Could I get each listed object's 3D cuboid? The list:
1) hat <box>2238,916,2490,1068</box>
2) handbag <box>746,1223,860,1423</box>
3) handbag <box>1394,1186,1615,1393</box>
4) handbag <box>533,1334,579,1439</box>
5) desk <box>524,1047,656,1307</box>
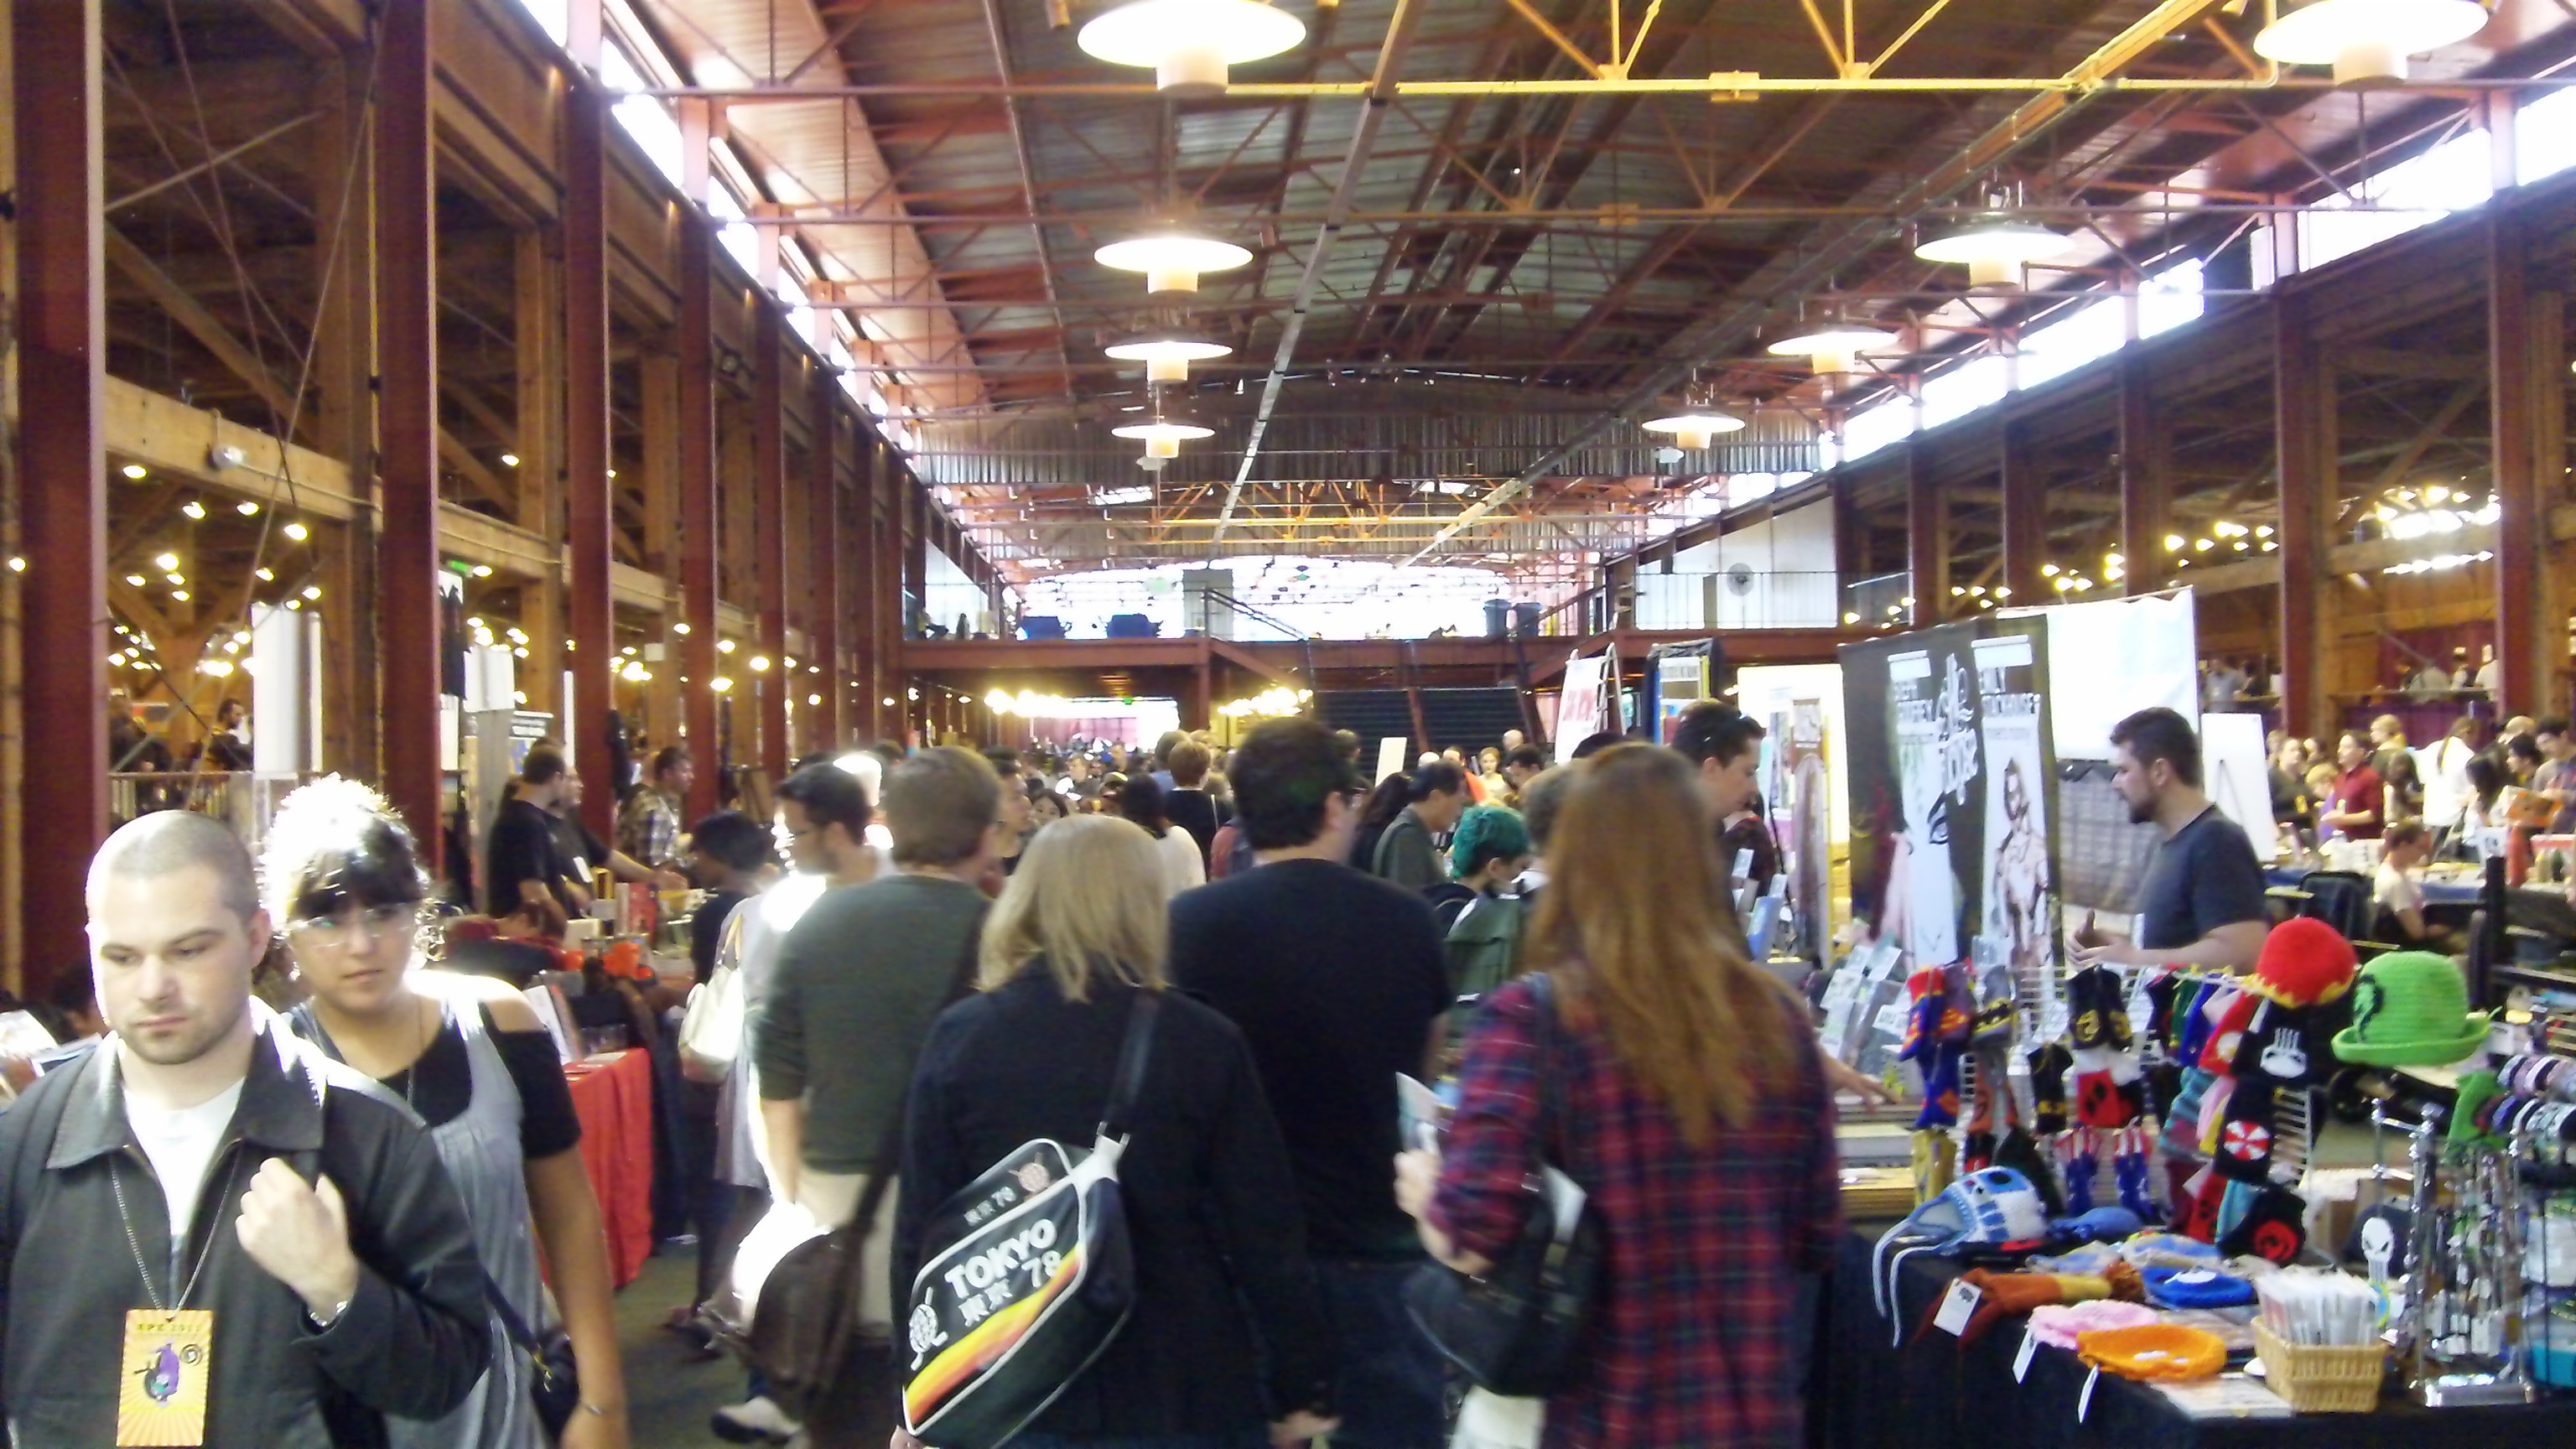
[{"bbox_3d":[3.755,0.932,7.367,0.512,0.252,0.645,-22,-24,27],"label":"hat"},{"bbox_3d":[-1.675,2.069,7.424,0.247,0.749,0.445,21,-26,-30],"label":"handbag"},{"bbox_3d":[0.694,1.734,6.761,0.607,0.573,0.457,18,4,42],"label":"handbag"},{"bbox_3d":[-2.345,2.116,6.826,0.081,0.258,0.201,-1,-6,10],"label":"handbag"},{"bbox_3d":[-3.476,2.103,10.221,0.563,0.899,0.977,0,0,1],"label":"desk"}]
